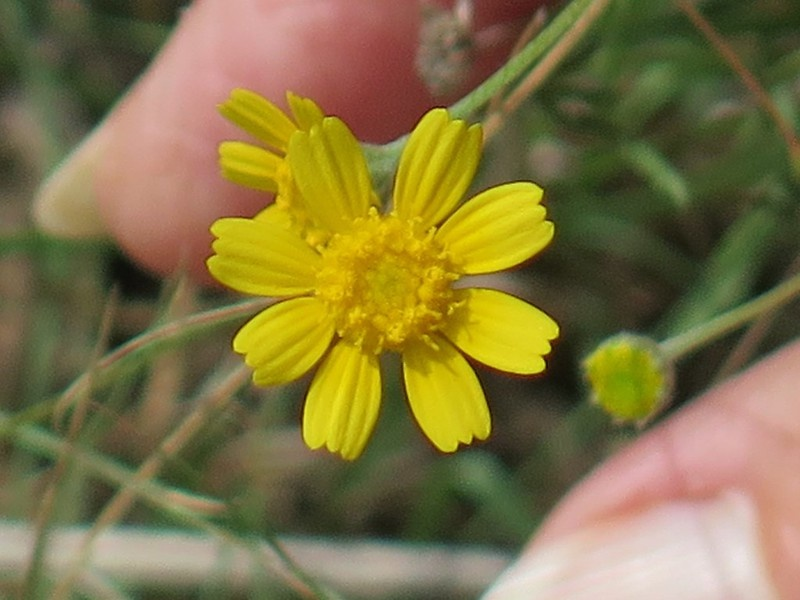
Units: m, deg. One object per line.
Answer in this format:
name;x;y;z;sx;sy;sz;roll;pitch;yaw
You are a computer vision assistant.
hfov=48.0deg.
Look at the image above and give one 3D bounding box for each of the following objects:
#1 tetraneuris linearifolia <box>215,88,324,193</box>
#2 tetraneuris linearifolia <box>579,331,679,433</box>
tetraneuris linearifolia;-0.351;-0.428;2.376;0.290;0.265;0.133;8;46;11
tetraneuris linearifolia;0.606;0.278;2.454;0.228;0.059;0.205;-24;17;-15
